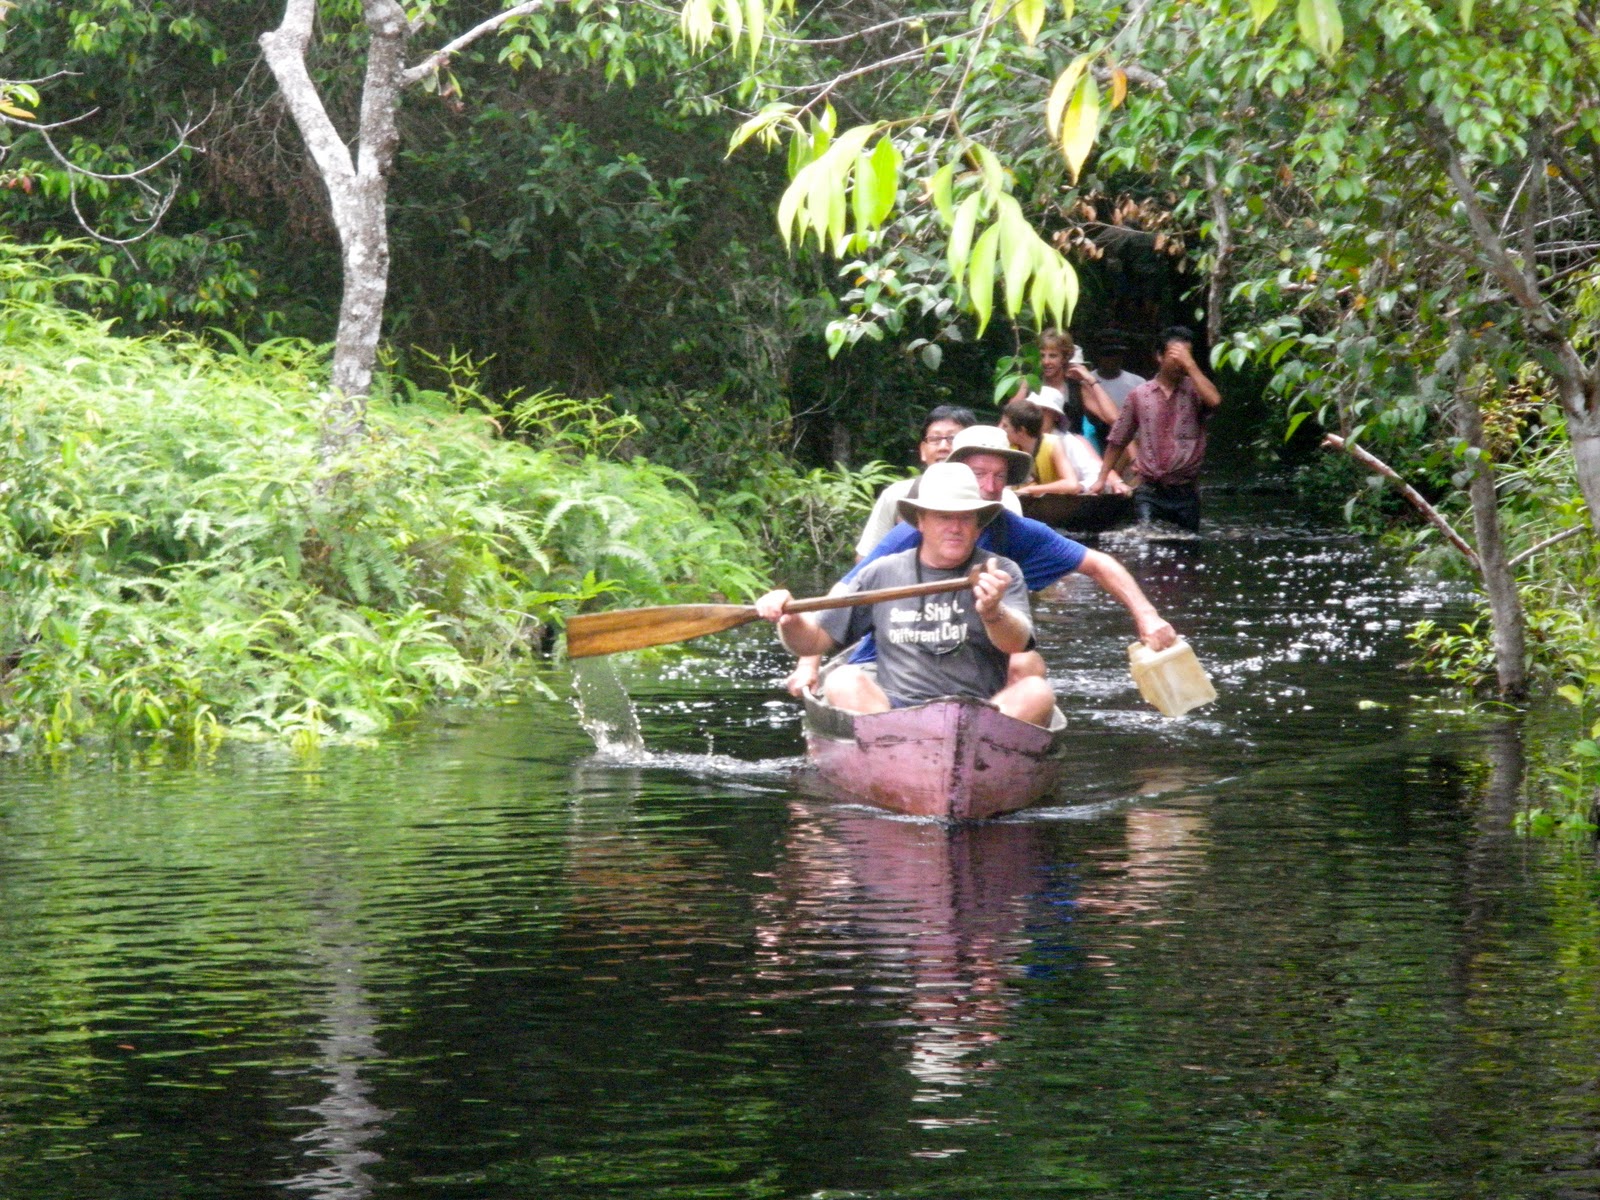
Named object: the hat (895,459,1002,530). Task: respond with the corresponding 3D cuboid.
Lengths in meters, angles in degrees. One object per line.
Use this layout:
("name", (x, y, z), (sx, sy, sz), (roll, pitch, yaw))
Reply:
("hat", (0.632, -0.449, 9.071), (0.521, 0.214, 0.547), (1, -2, 0))

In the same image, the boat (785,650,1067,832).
("boat", (0.586, 0.604, 9.315), (1.185, 0.527, 1.964), (3, 3, -3))

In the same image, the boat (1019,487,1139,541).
("boat", (2.199, -0.734, 17.215), (1.138, 0.394, 1.077), (0, 2, -6))
